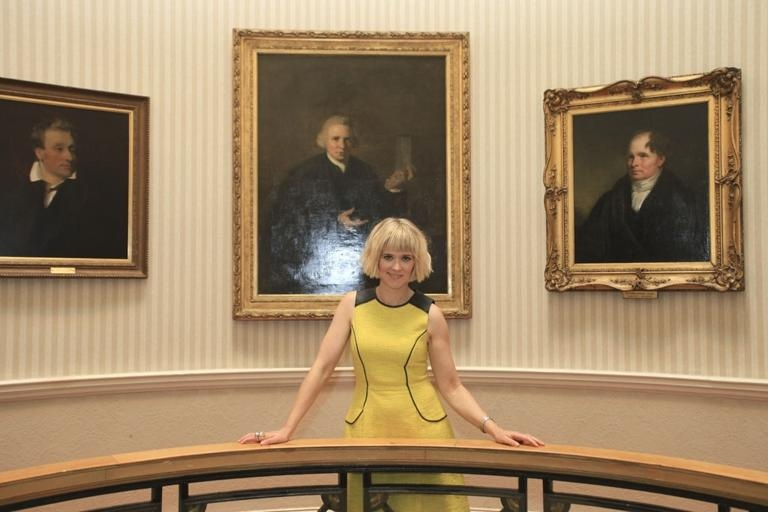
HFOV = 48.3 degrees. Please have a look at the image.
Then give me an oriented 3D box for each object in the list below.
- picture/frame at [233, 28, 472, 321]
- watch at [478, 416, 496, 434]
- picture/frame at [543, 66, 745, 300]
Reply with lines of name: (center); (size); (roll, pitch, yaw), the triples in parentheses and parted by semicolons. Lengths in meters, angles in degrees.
picture/frame: (-0.344, -0.698, 7.777); (2.722, 2.961, 0.227); (1, 2, -5)
watch: (0.709, 1.173, 5.993); (0.104, 0.115, 0.040); (-12, 16, -41)
picture/frame: (2.394, -0.624, 7.661); (2.121, 2.287, 0.315); (-1, -2, 17)
